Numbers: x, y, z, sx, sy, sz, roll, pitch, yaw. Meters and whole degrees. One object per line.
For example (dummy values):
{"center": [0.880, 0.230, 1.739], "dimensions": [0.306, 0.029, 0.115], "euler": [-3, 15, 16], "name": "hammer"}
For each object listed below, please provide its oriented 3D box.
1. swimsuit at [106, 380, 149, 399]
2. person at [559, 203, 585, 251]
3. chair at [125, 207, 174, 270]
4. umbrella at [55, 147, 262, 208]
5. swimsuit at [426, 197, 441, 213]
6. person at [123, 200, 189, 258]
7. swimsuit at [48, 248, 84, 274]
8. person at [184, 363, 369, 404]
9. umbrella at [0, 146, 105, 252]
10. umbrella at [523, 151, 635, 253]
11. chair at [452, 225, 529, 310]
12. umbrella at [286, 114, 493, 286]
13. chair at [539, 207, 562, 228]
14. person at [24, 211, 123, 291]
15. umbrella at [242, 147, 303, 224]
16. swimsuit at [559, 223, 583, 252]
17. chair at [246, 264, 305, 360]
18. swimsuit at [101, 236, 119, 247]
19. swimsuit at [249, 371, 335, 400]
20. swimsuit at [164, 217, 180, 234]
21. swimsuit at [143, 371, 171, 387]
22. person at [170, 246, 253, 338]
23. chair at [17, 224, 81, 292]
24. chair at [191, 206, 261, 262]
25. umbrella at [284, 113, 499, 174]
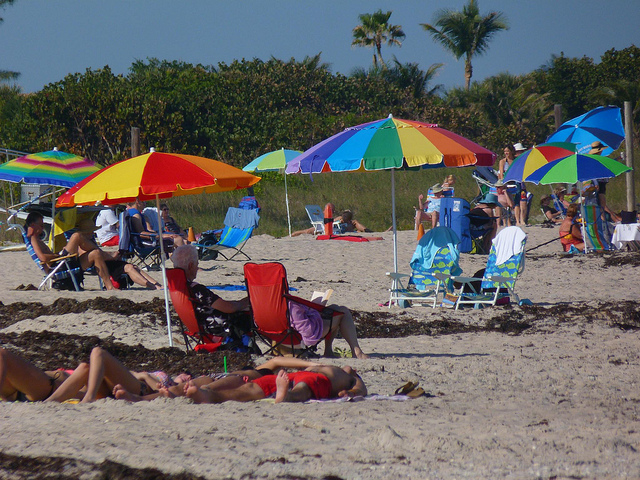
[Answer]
{"center": [-2.705, 2.174, 19.219], "dimensions": [0.266, 0.137, 0.368], "euler": [-27, -26, 21], "name": "swimsuit"}
{"center": [5.278, -0.249, 27.606], "dimensions": [0.483, 1.010, 0.828], "euler": [0, 4, 10], "name": "person"}
{"center": [-3.538, -0.029, 26.048], "dimensions": [1.042, 1.480, 1.119], "euler": [0, 3, 4], "name": "chair"}
{"center": [-2.628, -1.000, 20.842], "dimensions": [2.878, 0.868, 0.913], "euler": [-1, 4, -5], "name": "umbrella"}
{"center": [2.633, -0.795, 30.616], "dimensions": [0.251, 0.344, 0.145], "euler": [3, -9, 34], "name": "swimsuit"}
{"center": [-3.246, -0.106, 26.123], "dimensions": [1.100, 1.557, 1.255], "euler": [-1, 2, -1], "name": "person"}
{"center": [-4.648, 0.437, 24.057], "dimensions": [0.435, 0.668, 0.499], "euler": [-5, 5, -4], "name": "swimsuit"}
{"center": [-0.451, 2.120, 19.221], "dimensions": [1.005, 0.533, 1.696], "euler": [-6, -11, 40], "name": "person"}
{"center": [-5.314, -0.775, 25.262], "dimensions": [1.777, 1.795, 1.953], "euler": [1, 5, 16], "name": "umbrella"}
{"center": [5.554, -0.772, 28.532], "dimensions": [2.003, 2.250, 2.119], "euler": [-13, -3, -7], "name": "umbrella"}
{"center": [3.007, 0.480, 23.879], "dimensions": [1.619, 1.883, 1.152], "euler": [-5, 5, -42], "name": "chair"}
{"center": [1.339, -0.653, 23.482], "dimensions": [3.321, 3.217, 3.290], "euler": [-6, 7, -30], "name": "umbrella"}
{"center": [5.526, -0.528, 31.830], "dimensions": [0.417, 0.667, 0.428], "euler": [-3, 4, 13], "name": "chair"}
{"center": [-4.540, 0.211, 24.145], "dimensions": [1.965, 1.553, 1.027], "euler": [-9, 9, -10], "name": "person"}
{"center": [-1.176, -1.222, 31.312], "dimensions": [1.518, 1.824, 1.587], "euler": [-10, 2, 0], "name": "umbrella"}
{"center": [5.298, -0.060, 27.761], "dimensions": [0.281, 0.567, 0.409], "euler": [6, -18, -17], "name": "swimsuit"}
{"center": [-0.630, 1.123, 20.875], "dimensions": [0.874, 1.714, 1.109], "euler": [-3, 8, 15], "name": "chair"}
{"center": [-4.213, 0.049, 26.569], "dimensions": [0.189, 0.120, 0.256], "euler": [-11, 1, -37], "name": "swimsuit"}
{"center": [-0.303, 2.114, 19.400], "dimensions": [0.709, 0.312, 0.576], "euler": [1, -1, -37], "name": "swimsuit"}
{"center": [-3.084, -0.292, 27.510], "dimensions": [0.270, 0.319, 0.583], "euler": [-1, 4, -4], "name": "swimsuit"}
{"center": [-2.400, 2.028, 19.467], "dimensions": [0.343, 0.144, 0.199], "euler": [27, -20, 13], "name": "swimsuit"}
{"center": [-1.698, 0.823, 20.809], "dimensions": [1.230, 1.455, 0.651], "euler": [-1, 4, -5], "name": "person"}
{"center": [-4.897, 0.382, 24.232], "dimensions": [1.012, 1.361, 0.804], "euler": [-11, 12, -19], "name": "chair"}
{"center": [-1.841, -0.154, 27.764], "dimensions": [0.811, 1.170, 1.170], "euler": [-2, 5, -23], "name": "chair"}
{"center": [1.167, -1.633, 22.328], "dimensions": [3.253, 0.960, 0.869], "euler": [0, 4, 8], "name": "umbrella"}
